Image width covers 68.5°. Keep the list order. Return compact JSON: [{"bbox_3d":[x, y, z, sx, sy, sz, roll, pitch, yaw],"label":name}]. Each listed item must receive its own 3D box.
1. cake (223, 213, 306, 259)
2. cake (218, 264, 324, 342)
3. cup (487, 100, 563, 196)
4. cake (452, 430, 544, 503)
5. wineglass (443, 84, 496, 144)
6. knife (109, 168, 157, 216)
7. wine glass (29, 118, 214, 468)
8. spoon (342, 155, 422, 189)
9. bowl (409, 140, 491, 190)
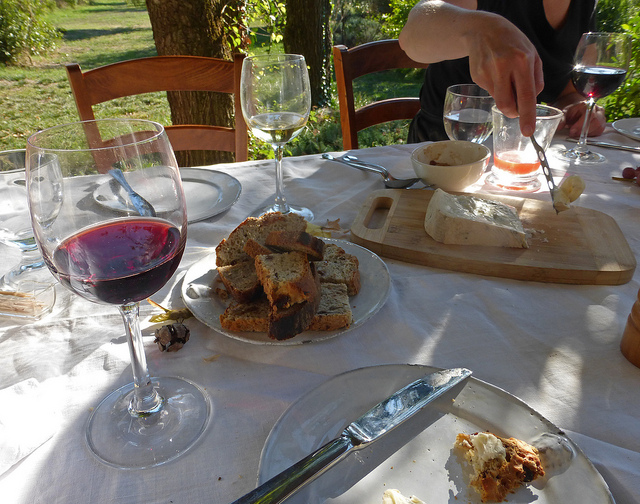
[{"bbox_3d":[-0.151,-0.031,1.226,0.259,0.072,0.261,-5,-6,5],"label":"cake"},{"bbox_3d":[-0.100,0.138,0.989,0.187,0.056,0.221,1,8,20],"label":"cake"},{"bbox_3d":[0.677,-0.347,1.575,0.206,0.262,0.196,-3,30,2],"label":"cup"},{"bbox_3d":[0.274,0.311,0.720,0.106,0.048,0.110,-10,31,-14],"label":"cake"},{"bbox_3d":[0.531,-0.460,1.660,0.198,0.242,0.206,15,28,33],"label":"wineglass"},{"bbox_3d":[-0.291,-0.092,0.728,0.052,0.082,0.019,-13,31,-19],"label":"knife"},{"bbox_3d":[-0.328,0.042,0.792,0.231,0.474,0.393,-11,30,-16],"label":"wine glass"},{"bbox_3d":[0.201,-0.311,1.621,0.096,0.073,0.454,-19,24,-26],"label":"spoon"},{"bbox_3d":[0.423,-0.268,1.520,0.245,0.130,0.241,-5,28,3],"label":"bowl"}]
